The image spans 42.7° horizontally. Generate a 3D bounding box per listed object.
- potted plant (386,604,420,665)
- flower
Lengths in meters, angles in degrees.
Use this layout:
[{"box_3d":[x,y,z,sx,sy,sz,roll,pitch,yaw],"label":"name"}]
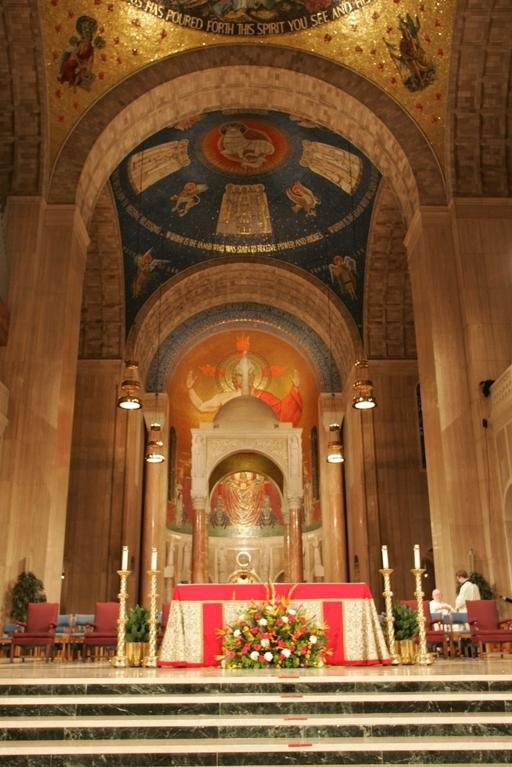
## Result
[{"box_3d":[1.558,2.592,6.891,0.365,0.656,0.330,-17,-34,33],"label":"potted plant"},{"box_3d":[0.174,2.257,6.019,0.672,0.459,0.670,1,-1,15],"label":"flower"}]
